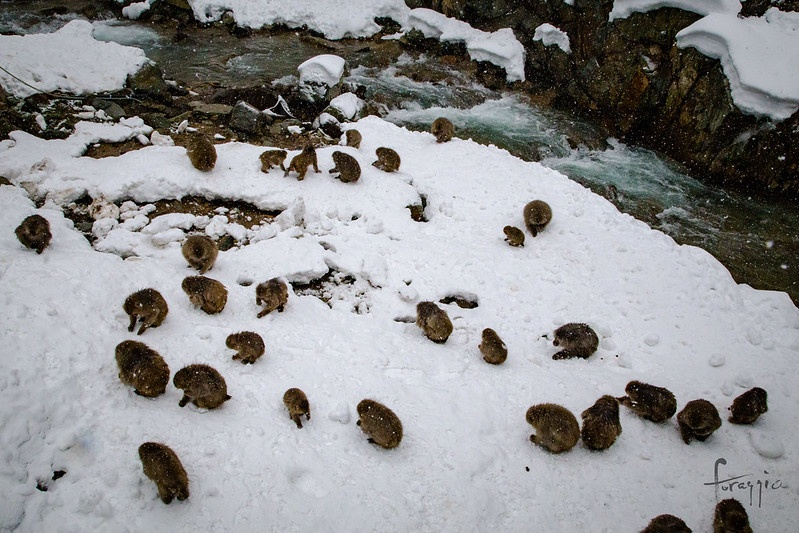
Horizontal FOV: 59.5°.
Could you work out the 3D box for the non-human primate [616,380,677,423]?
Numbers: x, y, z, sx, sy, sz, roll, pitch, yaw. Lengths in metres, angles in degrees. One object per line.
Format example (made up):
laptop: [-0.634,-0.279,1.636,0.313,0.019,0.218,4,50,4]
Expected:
non-human primate: [5.776,3.130,16.368,1.231,0.768,0.779,21,76,25]
